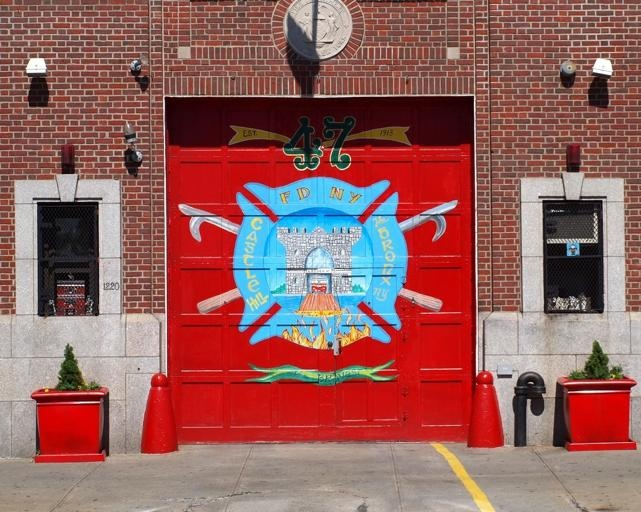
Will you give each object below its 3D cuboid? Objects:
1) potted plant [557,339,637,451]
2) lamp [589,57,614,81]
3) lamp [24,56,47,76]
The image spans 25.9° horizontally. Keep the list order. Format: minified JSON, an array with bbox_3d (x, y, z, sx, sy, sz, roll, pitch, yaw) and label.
[{"bbox_3d":[4.031,2.118,21.071,1.384,2.192,1.410,-1,-4,1],"label":"potted plant"},{"bbox_3d":[4.290,-2.815,21.067,0.312,0.315,0.261,-1,-3,11],"label":"lamp"},{"bbox_3d":[-4.262,-2.780,20.823,0.245,0.273,0.308,-1,1,-6],"label":"lamp"}]
